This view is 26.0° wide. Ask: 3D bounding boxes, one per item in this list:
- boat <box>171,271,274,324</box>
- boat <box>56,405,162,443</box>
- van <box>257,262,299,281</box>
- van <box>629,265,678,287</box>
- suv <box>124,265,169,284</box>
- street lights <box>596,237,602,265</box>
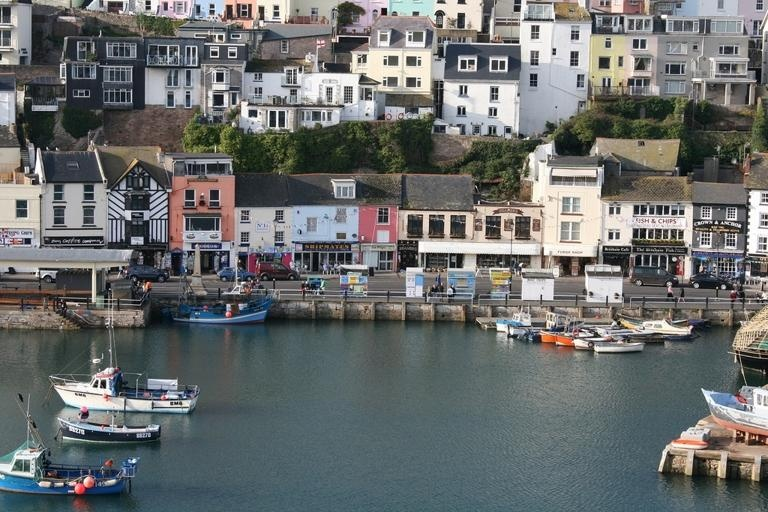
[{"bbox_3d":[-13.792,4.530,143.478,9.070,3.847,3.345,-1,8,-1],"label":"boat"},{"bbox_3d":[-20.486,11.877,123.315,7.516,2.691,2.249,5,8,2],"label":"boat"},{"bbox_3d":[-9.825,1.469,150.311,2.916,1.398,1.674,-2,6,-3],"label":"van"},{"bbox_3d":[24.238,1.877,150.914,3.466,1.478,1.821,-1,3,3],"label":"van"},{"bbox_3d":[-21.275,1.692,148.600,3.292,1.221,1.469,-1,4,-11],"label":"suv"},{"bbox_3d":[19.826,-0.423,154.430,0.567,2.190,0.869,2,7,33],"label":"street lights"}]
